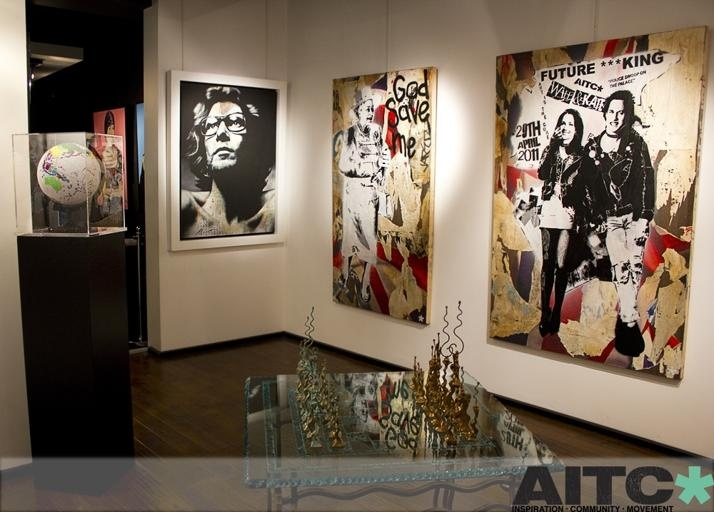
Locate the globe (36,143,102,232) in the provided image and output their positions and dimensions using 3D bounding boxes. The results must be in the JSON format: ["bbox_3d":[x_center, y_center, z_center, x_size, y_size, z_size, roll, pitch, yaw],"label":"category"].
[{"bbox_3d":[-2.189,-0.500,4.051,0.437,0.717,0.443,9,9,43],"label":"globe"}]
